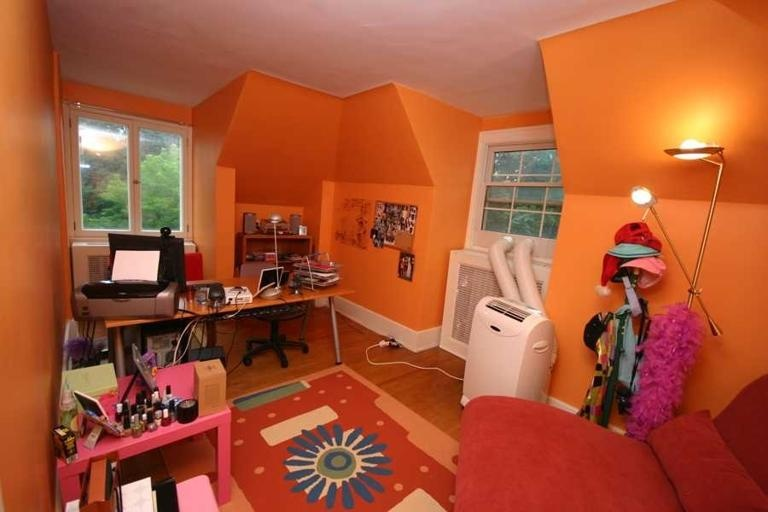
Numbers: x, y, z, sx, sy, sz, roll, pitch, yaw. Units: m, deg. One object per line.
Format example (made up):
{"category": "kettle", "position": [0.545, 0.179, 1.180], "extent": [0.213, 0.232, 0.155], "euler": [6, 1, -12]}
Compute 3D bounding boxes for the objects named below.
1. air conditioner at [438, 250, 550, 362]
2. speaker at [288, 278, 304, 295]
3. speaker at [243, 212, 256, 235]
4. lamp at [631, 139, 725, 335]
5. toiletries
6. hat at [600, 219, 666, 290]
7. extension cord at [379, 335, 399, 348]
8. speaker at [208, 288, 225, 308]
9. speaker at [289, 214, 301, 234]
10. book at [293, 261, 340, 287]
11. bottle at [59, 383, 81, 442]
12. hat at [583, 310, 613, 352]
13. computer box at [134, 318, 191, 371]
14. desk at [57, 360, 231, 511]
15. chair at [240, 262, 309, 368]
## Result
{"category": "air conditioner", "position": [1.052, 0.445, 4.843], "extent": [0.340, 0.978, 0.998], "euler": [-5, 15, -31]}
{"category": "speaker", "position": [-0.818, 0.279, 4.916], "extent": [0.147, 0.157, 0.153], "euler": [-10, 19, -37]}
{"category": "speaker", "position": [-1.632, -0.413, 6.321], "extent": [0.163, 0.250, 0.216], "euler": [-3, 8, -16]}
{"category": "lamp", "position": [2.178, -0.126, 3.862], "extent": [0.622, 1.436, 0.470], "euler": [3, 9, 30]}
{"category": "toiletries", "position": [-1.491, 1.017, 3.416], "extent": [0.374, 0.129, 0.287], "euler": [1, 7, -39]}
{"category": "hat", "position": [2.060, -0.017, 4.076], "extent": [0.477, 0.491, 0.521], "euler": [-2, 1, -44]}
{"category": "extension cord", "position": [0.062, 0.934, 5.679], "extent": [0.110, 0.054, 0.159], "euler": [9, 11, 38]}
{"category": "speaker", "position": [-1.392, 0.336, 4.414], "extent": [0.122, 0.171, 0.172], "euler": [-2, 4, -39]}
{"category": "speaker", "position": [-1.128, -0.416, 6.617], "extent": [0.150, 0.244, 0.168], "euler": [-2, 8, -10]}
{"category": "book", "position": [-0.693, 0.157, 5.183], "extent": [0.314, 0.123, 0.317], "euler": [13, 15, 39]}
{"category": "bottle", "position": [-1.981, 0.970, 3.292], "extent": [0.102, 0.316, 0.214], "euler": [-5, 9, -31]}
{"category": "hat", "position": [1.726, 0.625, 4.238], "extent": [0.160, 0.375, 0.294], "euler": [-2, 8, -10]}
{"category": "computer box", "position": [-1.804, 0.716, 4.200], "extent": [0.480, 0.446, 0.278], "euler": [-2, 6, -44]}
{"category": "desk", "position": [-1.599, 1.195, 3.574], "extent": [1.026, 0.609, 0.965], "euler": [-5, 13, -30]}
{"category": "chair", "position": [-1.079, 0.508, 5.213], "extent": [0.643, 1.014, 0.703], "euler": [-1, 10, -17]}
